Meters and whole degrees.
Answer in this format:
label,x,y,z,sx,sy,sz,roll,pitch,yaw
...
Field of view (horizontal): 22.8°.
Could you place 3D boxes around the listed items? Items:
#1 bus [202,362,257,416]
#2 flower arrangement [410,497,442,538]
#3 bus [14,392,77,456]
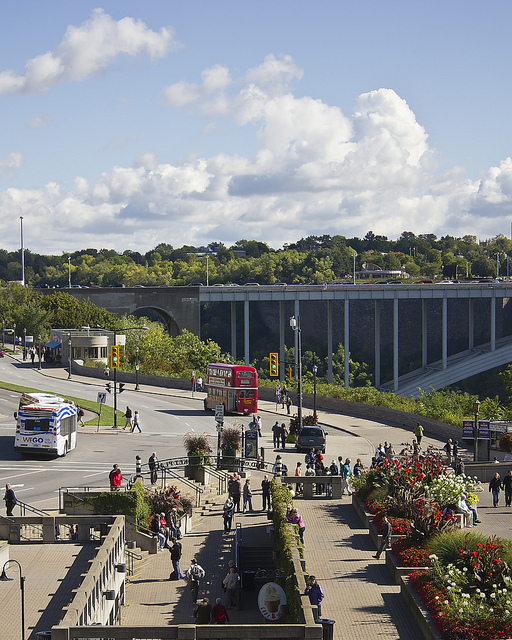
label,x,y,z,sx,sy,sz,roll,pitch,yaw
bus,-1.684,3.937,72.911,1.388,2.827,4.913,0,0,-25
flower arrangement,4.845,5.795,37.037,0.708,1.168,0.854,-1,-25,-16
bus,-9.300,4.910,58.200,1.727,2.582,5.475,2,0,5
